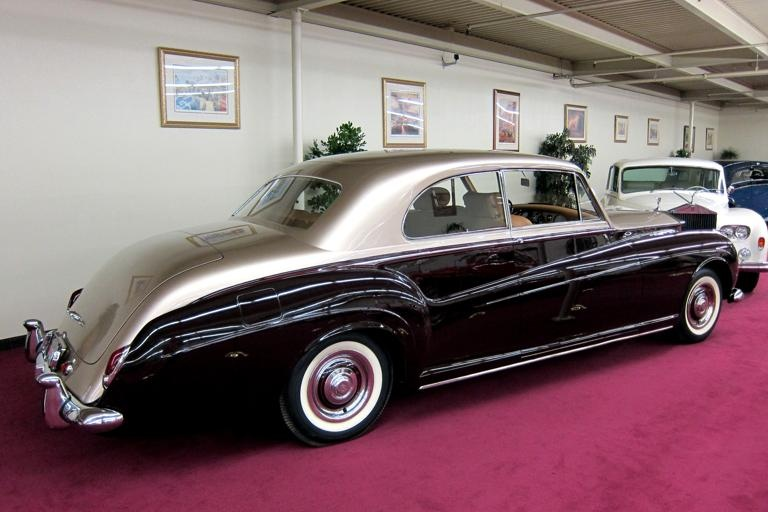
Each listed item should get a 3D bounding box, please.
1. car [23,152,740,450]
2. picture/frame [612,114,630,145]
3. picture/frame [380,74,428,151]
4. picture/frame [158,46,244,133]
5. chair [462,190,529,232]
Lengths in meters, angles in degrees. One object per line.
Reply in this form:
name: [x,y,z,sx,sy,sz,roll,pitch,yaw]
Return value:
car: [0.153,0.163,3.472,5.049,1.980,1.070,-5,14,-24]
picture/frame: [7.171,-3.837,13.398,0.224,0.806,1.069,11,16,39]
picture/frame: [0.416,-2.546,7.934,1.064,1.210,0.164,-10,17,-38]
picture/frame: [-2.376,-2.171,5.790,1.213,0.881,0.056,10,18,18]
chair: [0.864,-0.359,3.492,0.467,0.300,0.260,-2,0,-34]
